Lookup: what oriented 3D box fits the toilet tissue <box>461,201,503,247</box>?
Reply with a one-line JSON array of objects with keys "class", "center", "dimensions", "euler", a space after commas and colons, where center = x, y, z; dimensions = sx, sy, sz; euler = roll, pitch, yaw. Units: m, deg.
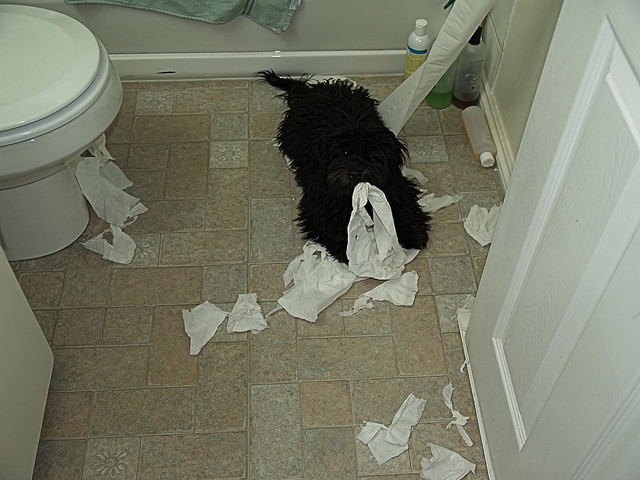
[{"class": "toilet tissue", "center": [0.512, -0.050, 1.599], "dimensions": [0.124, 0.044, 0.133], "euler": [22, 70, 22]}]

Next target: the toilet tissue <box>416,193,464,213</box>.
[{"class": "toilet tissue", "center": [0.393, -0.121, 1.649], "dimensions": [0.109, 0.029, 0.070], "euler": [-16, 43, 4]}]

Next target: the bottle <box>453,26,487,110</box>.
[{"class": "bottle", "center": [0.546, -0.631, 1.829], "dimensions": [0.099, 0.301, 0.110], "euler": [-3, 53, 3]}]

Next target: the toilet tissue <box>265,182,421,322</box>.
[{"class": "toilet tissue", "center": [0.071, 0.049, 1.555], "dimensions": [0.460, 0.243, 0.289], "euler": [-15, 52, 0]}]

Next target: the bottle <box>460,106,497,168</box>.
[{"class": "bottle", "center": [0.568, -0.368, 1.796], "dimensions": [0.079, 0.072, 0.271], "euler": [-3, 52, 0]}]

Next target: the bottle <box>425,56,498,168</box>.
[{"class": "bottle", "center": [0.503, -0.446, 1.777], "dimensions": [0.118, 0.295, 0.310], "euler": [-19, 73, -1]}]
